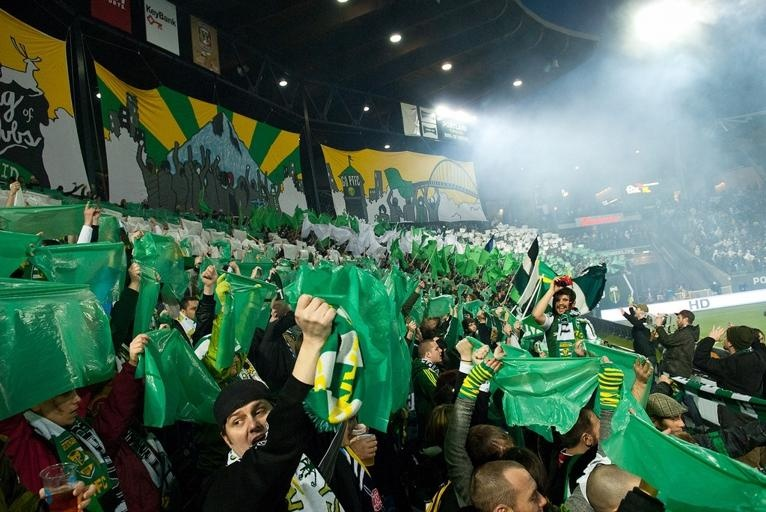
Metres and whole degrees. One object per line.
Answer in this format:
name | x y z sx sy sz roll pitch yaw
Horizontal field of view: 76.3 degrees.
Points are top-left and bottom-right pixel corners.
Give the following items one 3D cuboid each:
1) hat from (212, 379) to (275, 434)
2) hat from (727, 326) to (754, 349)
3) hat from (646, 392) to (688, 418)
hat | -0.979 1.013 3.451 0.422 0.275 0.416 -6 -6 23
hat | 4.542 1.044 6.160 0.258 0.325 0.295 -3 -18 14
hat | 2.669 1.394 4.580 0.279 0.159 0.212 -9 3 6
